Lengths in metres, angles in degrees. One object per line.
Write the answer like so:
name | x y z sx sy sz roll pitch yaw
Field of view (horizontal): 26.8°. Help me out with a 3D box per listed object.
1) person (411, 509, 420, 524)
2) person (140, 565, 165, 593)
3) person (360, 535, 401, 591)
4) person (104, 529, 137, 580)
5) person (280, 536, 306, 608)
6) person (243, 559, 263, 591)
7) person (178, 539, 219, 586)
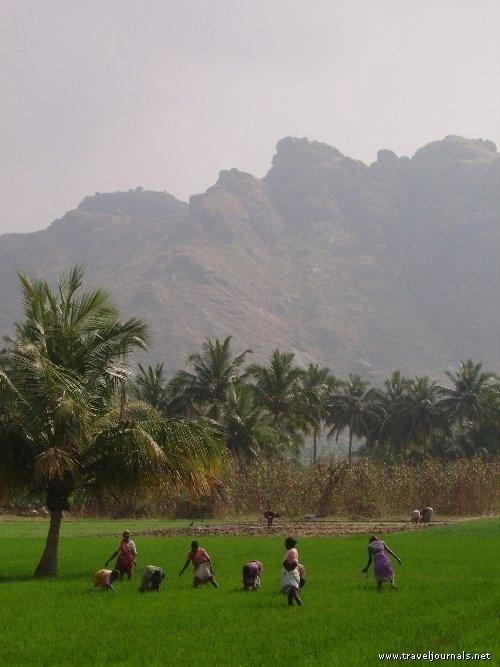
person | 6.198 6.824 39.015 0.312 0.566 1.615 1 -1 10
person | -1.922 4.916 21.026 0.235 0.452 0.694 1 0 19
person | 2.629 4.658 21.150 0.623 1.020 1.507 1 -1 7
person | -2.695 4.844 22.542 0.501 1.335 0.402 4 21 -1
person | 0.807 4.371 19.438 0.423 1.249 1.139 1 -1 2
person | 0.046 4.850 21.020 0.372 0.605 0.704 1 -1 0
person | -1.060 4.850 21.397 0.549 0.386 1.210 -10 37 -9
